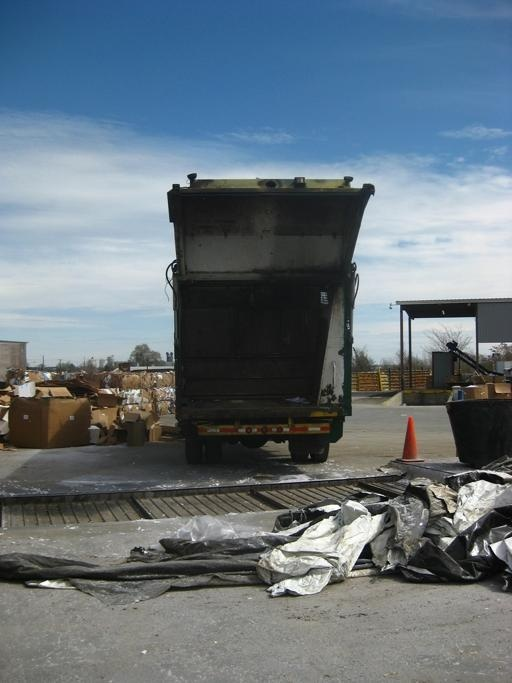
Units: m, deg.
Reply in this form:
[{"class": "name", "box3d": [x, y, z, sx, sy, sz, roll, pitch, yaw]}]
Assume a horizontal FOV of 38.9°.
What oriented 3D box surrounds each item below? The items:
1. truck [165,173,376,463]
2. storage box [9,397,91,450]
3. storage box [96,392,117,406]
[{"class": "truck", "box3d": [0.098, -0.156, 9.088, 2.188, 3.414, 2.289, 1, -2, -6]}, {"class": "storage box", "box3d": [-3.111, 1.247, 11.036, 0.812, 0.714, 1.109, -7, -10, 36]}, {"class": "storage box", "box3d": [-2.597, 1.009, 12.751, 0.269, 0.152, 0.261, -2, -2, 18]}]
